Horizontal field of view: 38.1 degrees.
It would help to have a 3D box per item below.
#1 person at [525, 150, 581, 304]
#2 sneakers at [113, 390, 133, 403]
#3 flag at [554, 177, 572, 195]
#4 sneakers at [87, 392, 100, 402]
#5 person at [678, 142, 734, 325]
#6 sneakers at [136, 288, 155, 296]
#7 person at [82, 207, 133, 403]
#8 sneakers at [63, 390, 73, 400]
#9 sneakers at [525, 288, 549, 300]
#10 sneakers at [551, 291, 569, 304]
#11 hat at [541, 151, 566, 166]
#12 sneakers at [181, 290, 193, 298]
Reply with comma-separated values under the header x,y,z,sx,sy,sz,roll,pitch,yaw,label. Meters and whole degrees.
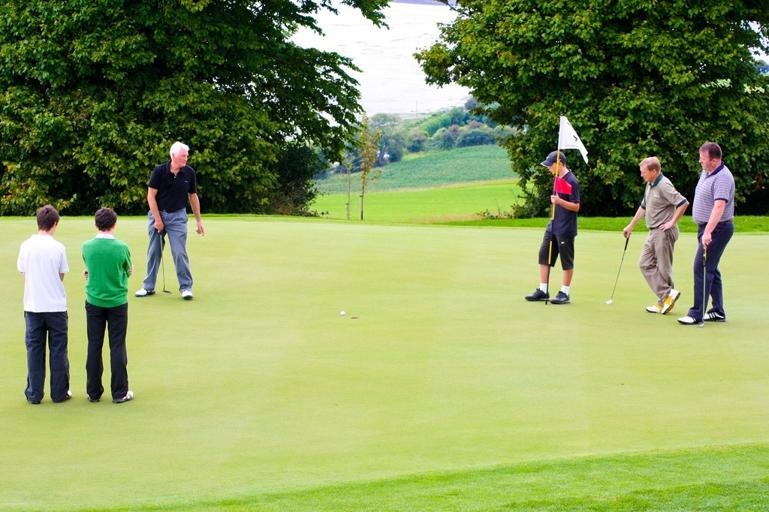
x,y,z,sx,sy,sz,roll,pitch,yaw,label
3.872,-0.641,25.117,1.146,3.403,1.263,-3,2,8,person
-4.944,2.667,20.949,0.174,0.176,0.389,10,19,34,sneakers
4.021,-1.553,24.789,0.441,0.460,0.068,0,-5,5,flag
-5.563,2.705,21.079,0.185,0.109,0.131,1,1,-6,sneakers
6.968,-0.483,23.760,1.175,3.851,0.710,-4,2,-22,person
-5.436,0.841,25.001,0.159,0.167,0.421,0,-3,31,sneakers
-5.343,0.937,21.133,0.953,2.426,0.742,-3,2,-6,person
-6.068,2.656,21.060,0.178,0.140,0.349,-1,-3,-17,sneakers
3.435,0.911,24.946,0.571,0.246,0.216,3,-1,-1,sneakers
3.923,0.972,24.652,0.192,0.205,0.481,-4,-6,40,sneakers
3.824,-2.170,24.993,0.604,0.286,0.387,-1,6,-3,hat
-4.438,0.876,24.706,0.234,0.216,0.223,-3,2,-10,sneakers
